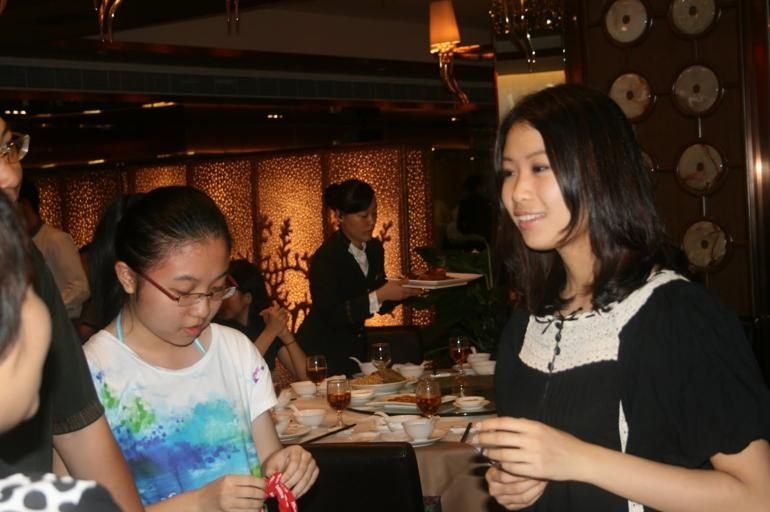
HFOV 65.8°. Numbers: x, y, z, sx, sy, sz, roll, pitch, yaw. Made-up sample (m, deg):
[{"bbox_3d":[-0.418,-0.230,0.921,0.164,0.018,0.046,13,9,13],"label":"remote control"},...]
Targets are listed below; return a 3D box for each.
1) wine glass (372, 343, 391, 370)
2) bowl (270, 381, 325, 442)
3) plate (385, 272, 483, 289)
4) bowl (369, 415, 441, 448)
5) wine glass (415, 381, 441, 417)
[{"bbox_3d":[-0.015,0.585,3.489,0.120,0.204,0.121,1,1,1],"label":"wine glass"},{"bbox_3d":[-0.420,0.740,2.827,0.171,0.124,0.438,-1,-6,-7],"label":"bowl"},{"bbox_3d":[0.388,0.190,4.306,0.684,0.121,0.473,-2,0,-2],"label":"plate"},{"bbox_3d":[0.094,0.738,2.515,0.161,0.059,0.151,-4,-6,0],"label":"bowl"},{"bbox_3d":[0.194,0.652,2.637,0.115,0.197,0.117,-6,-1,12],"label":"wine glass"}]
